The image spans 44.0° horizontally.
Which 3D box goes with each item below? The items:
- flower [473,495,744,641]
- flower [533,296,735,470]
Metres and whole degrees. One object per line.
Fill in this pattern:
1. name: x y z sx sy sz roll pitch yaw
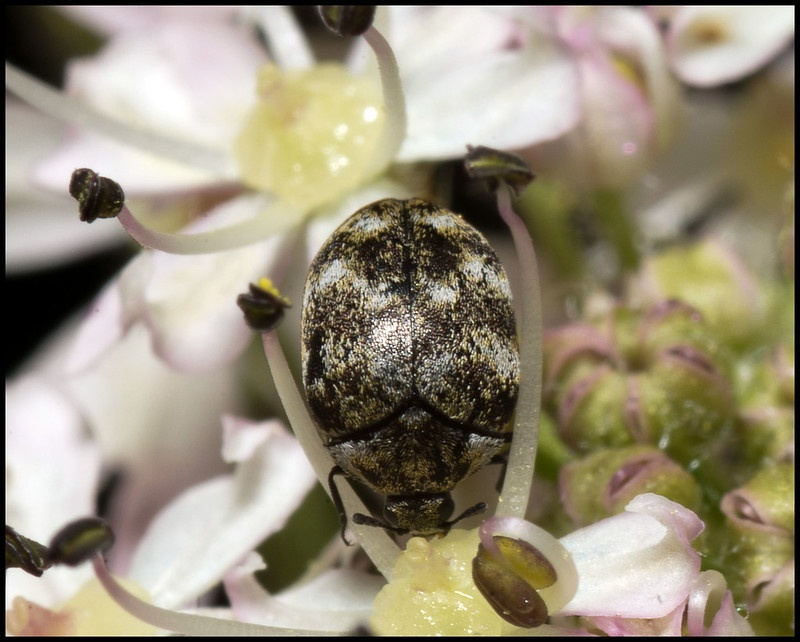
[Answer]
1. flower: 0.313 0.370 1.429 0.376 0.223 0.123 -8 -8 3
2. flower: 0.438 0.094 1.847 0.358 0.214 0.450 2 32 24
